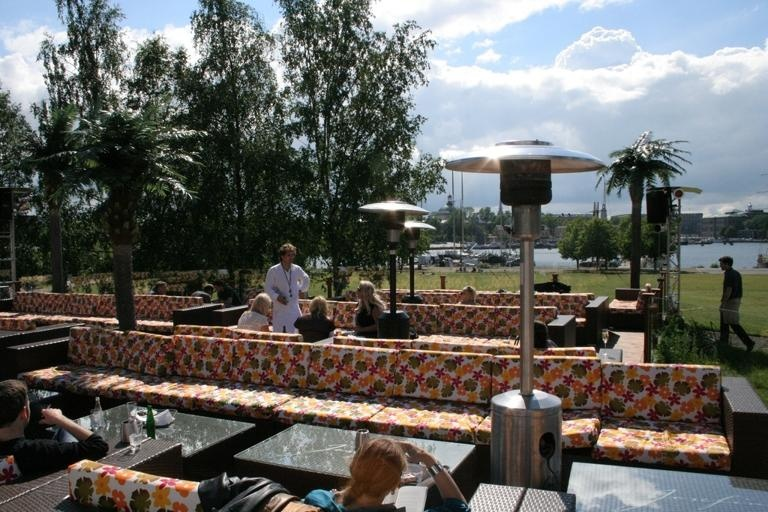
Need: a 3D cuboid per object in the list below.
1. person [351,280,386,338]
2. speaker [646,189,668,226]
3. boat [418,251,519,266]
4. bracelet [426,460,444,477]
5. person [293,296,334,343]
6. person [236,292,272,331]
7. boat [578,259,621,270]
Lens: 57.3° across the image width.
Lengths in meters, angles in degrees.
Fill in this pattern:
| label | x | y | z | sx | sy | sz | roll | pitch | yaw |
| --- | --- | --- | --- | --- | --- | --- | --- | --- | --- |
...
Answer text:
| label | x | y | z | sx | sy | sz | roll | pitch | yaw |
| --- | --- | --- | --- | --- | --- | --- | --- | --- | --- |
| person | -0.245 | 1.189 | 12.855 | 0.574 | 1.417 | 0.626 | 6 | 10 | 32 |
| speaker | 7.543 | -1.613 | 19.523 | 0.582 | 0.645 | 1.165 | -1 | -43 | 23 |
| boat | 10.005 | 0.349 | 83.180 | 12.279 | 2.428 | 2.637 | -1 | 3 | 10 |
| bracelet | 0.523 | 2.206 | 7.380 | 0.171 | 0.120 | 0.174 | 39 | -16 | -2 |
| person | -1.156 | 1.142 | 11.871 | 0.669 | 0.852 | 0.442 | 5 | -16 | -2 |
| person | -2.358 | 1.034 | 12.806 | 0.436 | 1.113 | 0.357 | 15 | 11 | 32 |
| boat | 20.332 | 0.680 | 66.971 | 3.420 | 0.925 | 11.323 | -1 | 0 | 16 |
